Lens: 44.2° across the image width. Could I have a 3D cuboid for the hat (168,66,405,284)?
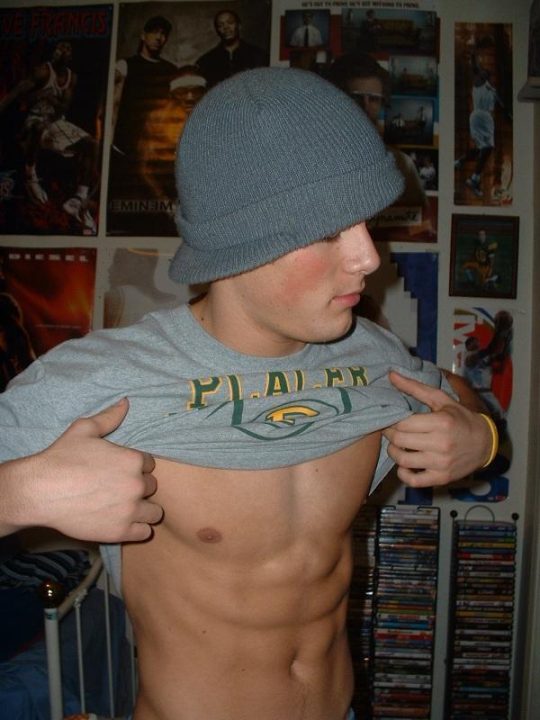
[{"bbox_3d":[0.018,-0.302,1.038,0.394,0.276,0.368,7,30,18],"label":"hat"}]
